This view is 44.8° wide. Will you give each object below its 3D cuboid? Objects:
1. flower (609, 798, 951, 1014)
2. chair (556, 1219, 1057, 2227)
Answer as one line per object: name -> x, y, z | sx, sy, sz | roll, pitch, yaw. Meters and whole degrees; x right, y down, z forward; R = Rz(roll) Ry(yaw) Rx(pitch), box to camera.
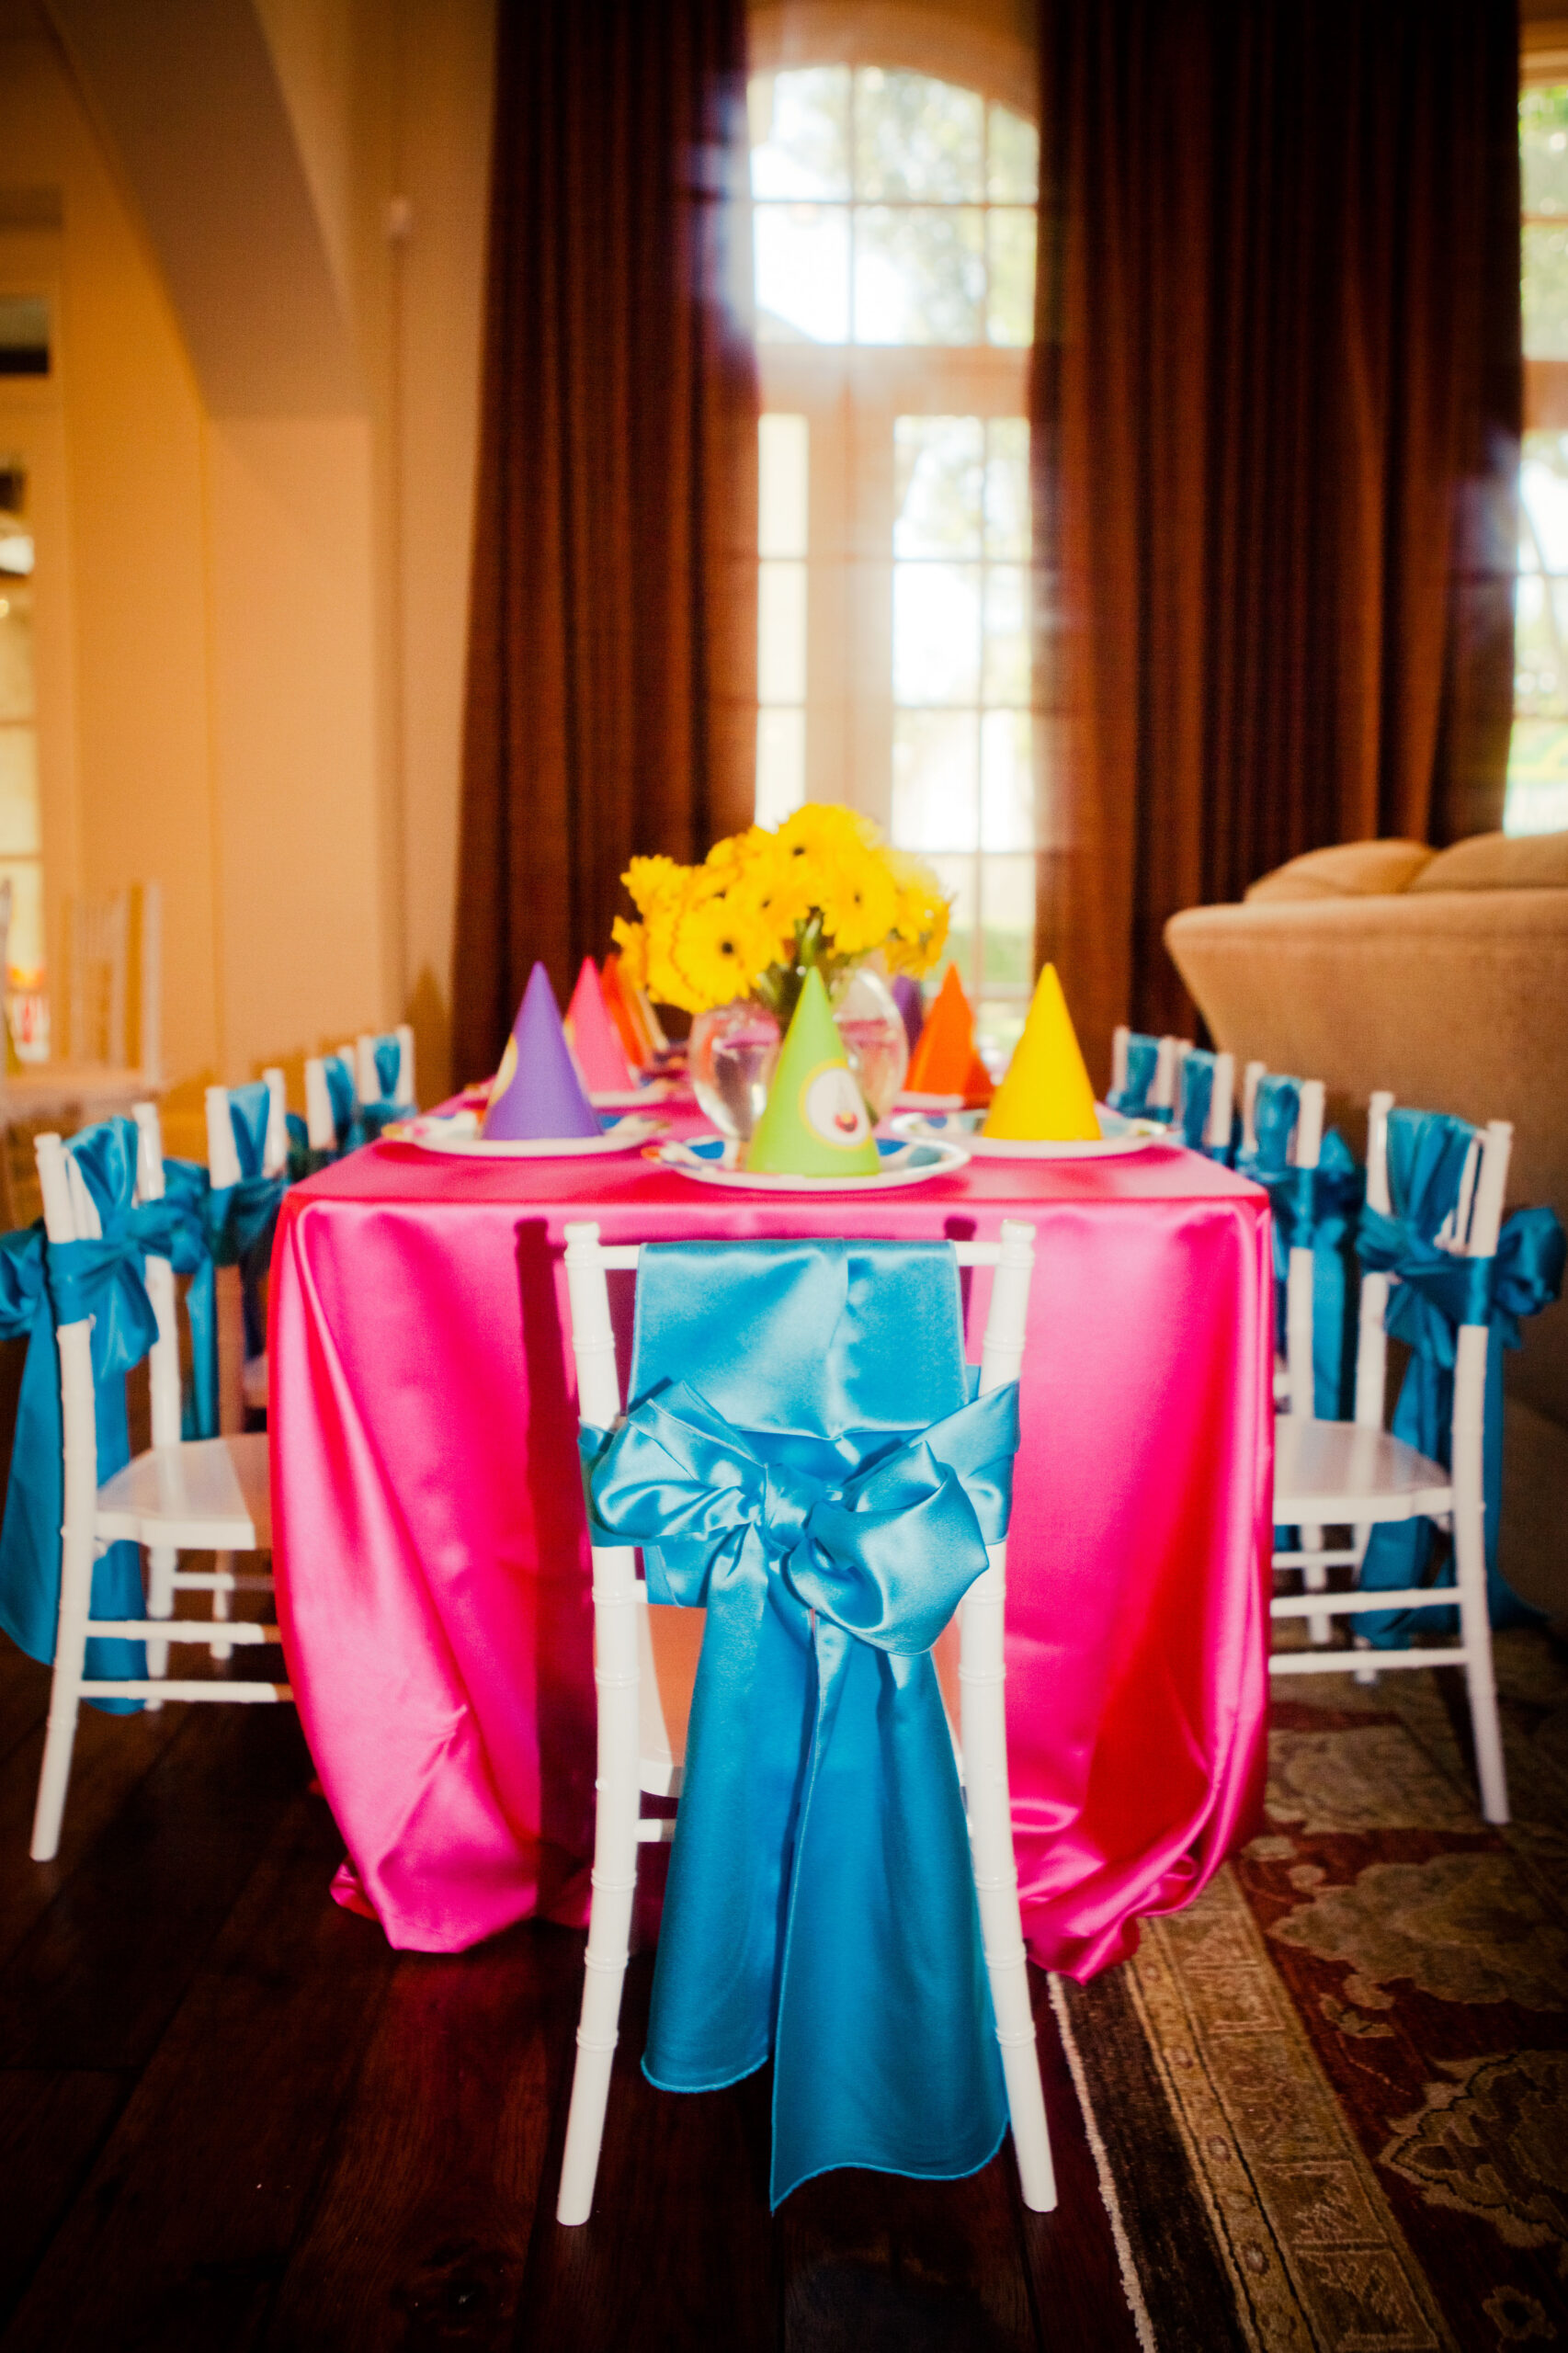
flower -> 0.003, -0.252, 1.821 | 0.317, 0.201, 0.256 | -1, 8, -7
chair -> 0.013, 0.339, 1.387 | 0.350, 0.682, 0.374 | -1, 8, -5
